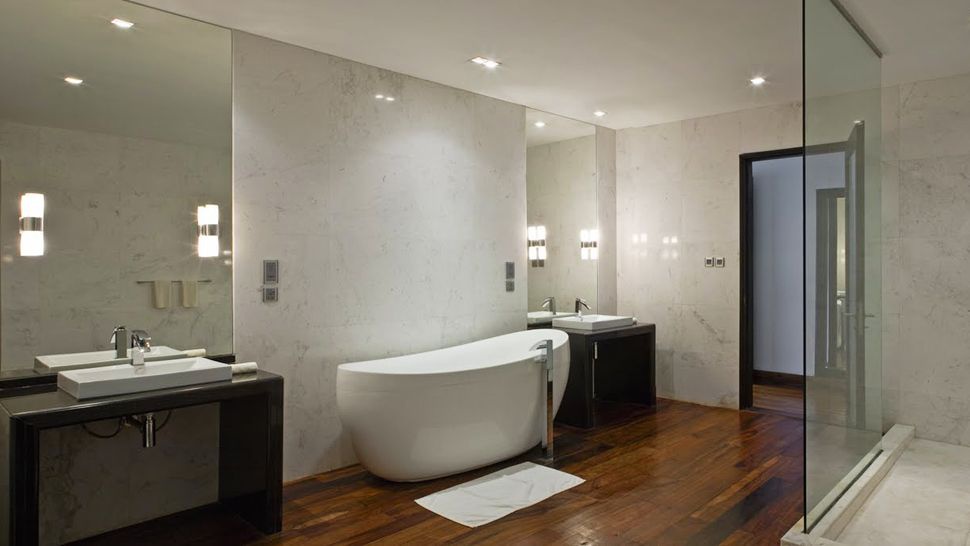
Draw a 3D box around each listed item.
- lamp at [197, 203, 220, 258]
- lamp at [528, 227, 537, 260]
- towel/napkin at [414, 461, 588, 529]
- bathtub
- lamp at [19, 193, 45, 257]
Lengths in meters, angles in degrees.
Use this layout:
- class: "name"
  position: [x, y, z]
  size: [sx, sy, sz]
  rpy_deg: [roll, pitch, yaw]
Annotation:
- class: "lamp"
  position: [-2.254, -0.346, 5.148]
  size: [0.204, 0.388, 0.098]
  rpy_deg: [1, 1, -35]
- class: "lamp"
  position: [0.533, -0.325, 6.907]
  size: [0.076, 0.361, 0.187]
  rpy_deg: [10, 17, 40]
- class: "towel/napkin"
  position: [0.142, 1.863, 5.268]
  size: [1.316, 0.071, 0.564]
  rpy_deg: [-7, 13, -30]
- class: "bathtub"
  position: [-0.204, 1.158, 5.885]
  size: [2.327, 1.109, 0.939]
  rpy_deg: [-6, 13, -23]
- class: "lamp"
  position: [-3.359, -0.353, 4.672]
  size: [0.204, 0.470, 0.090]
  rpy_deg: [-10, 16, -31]
